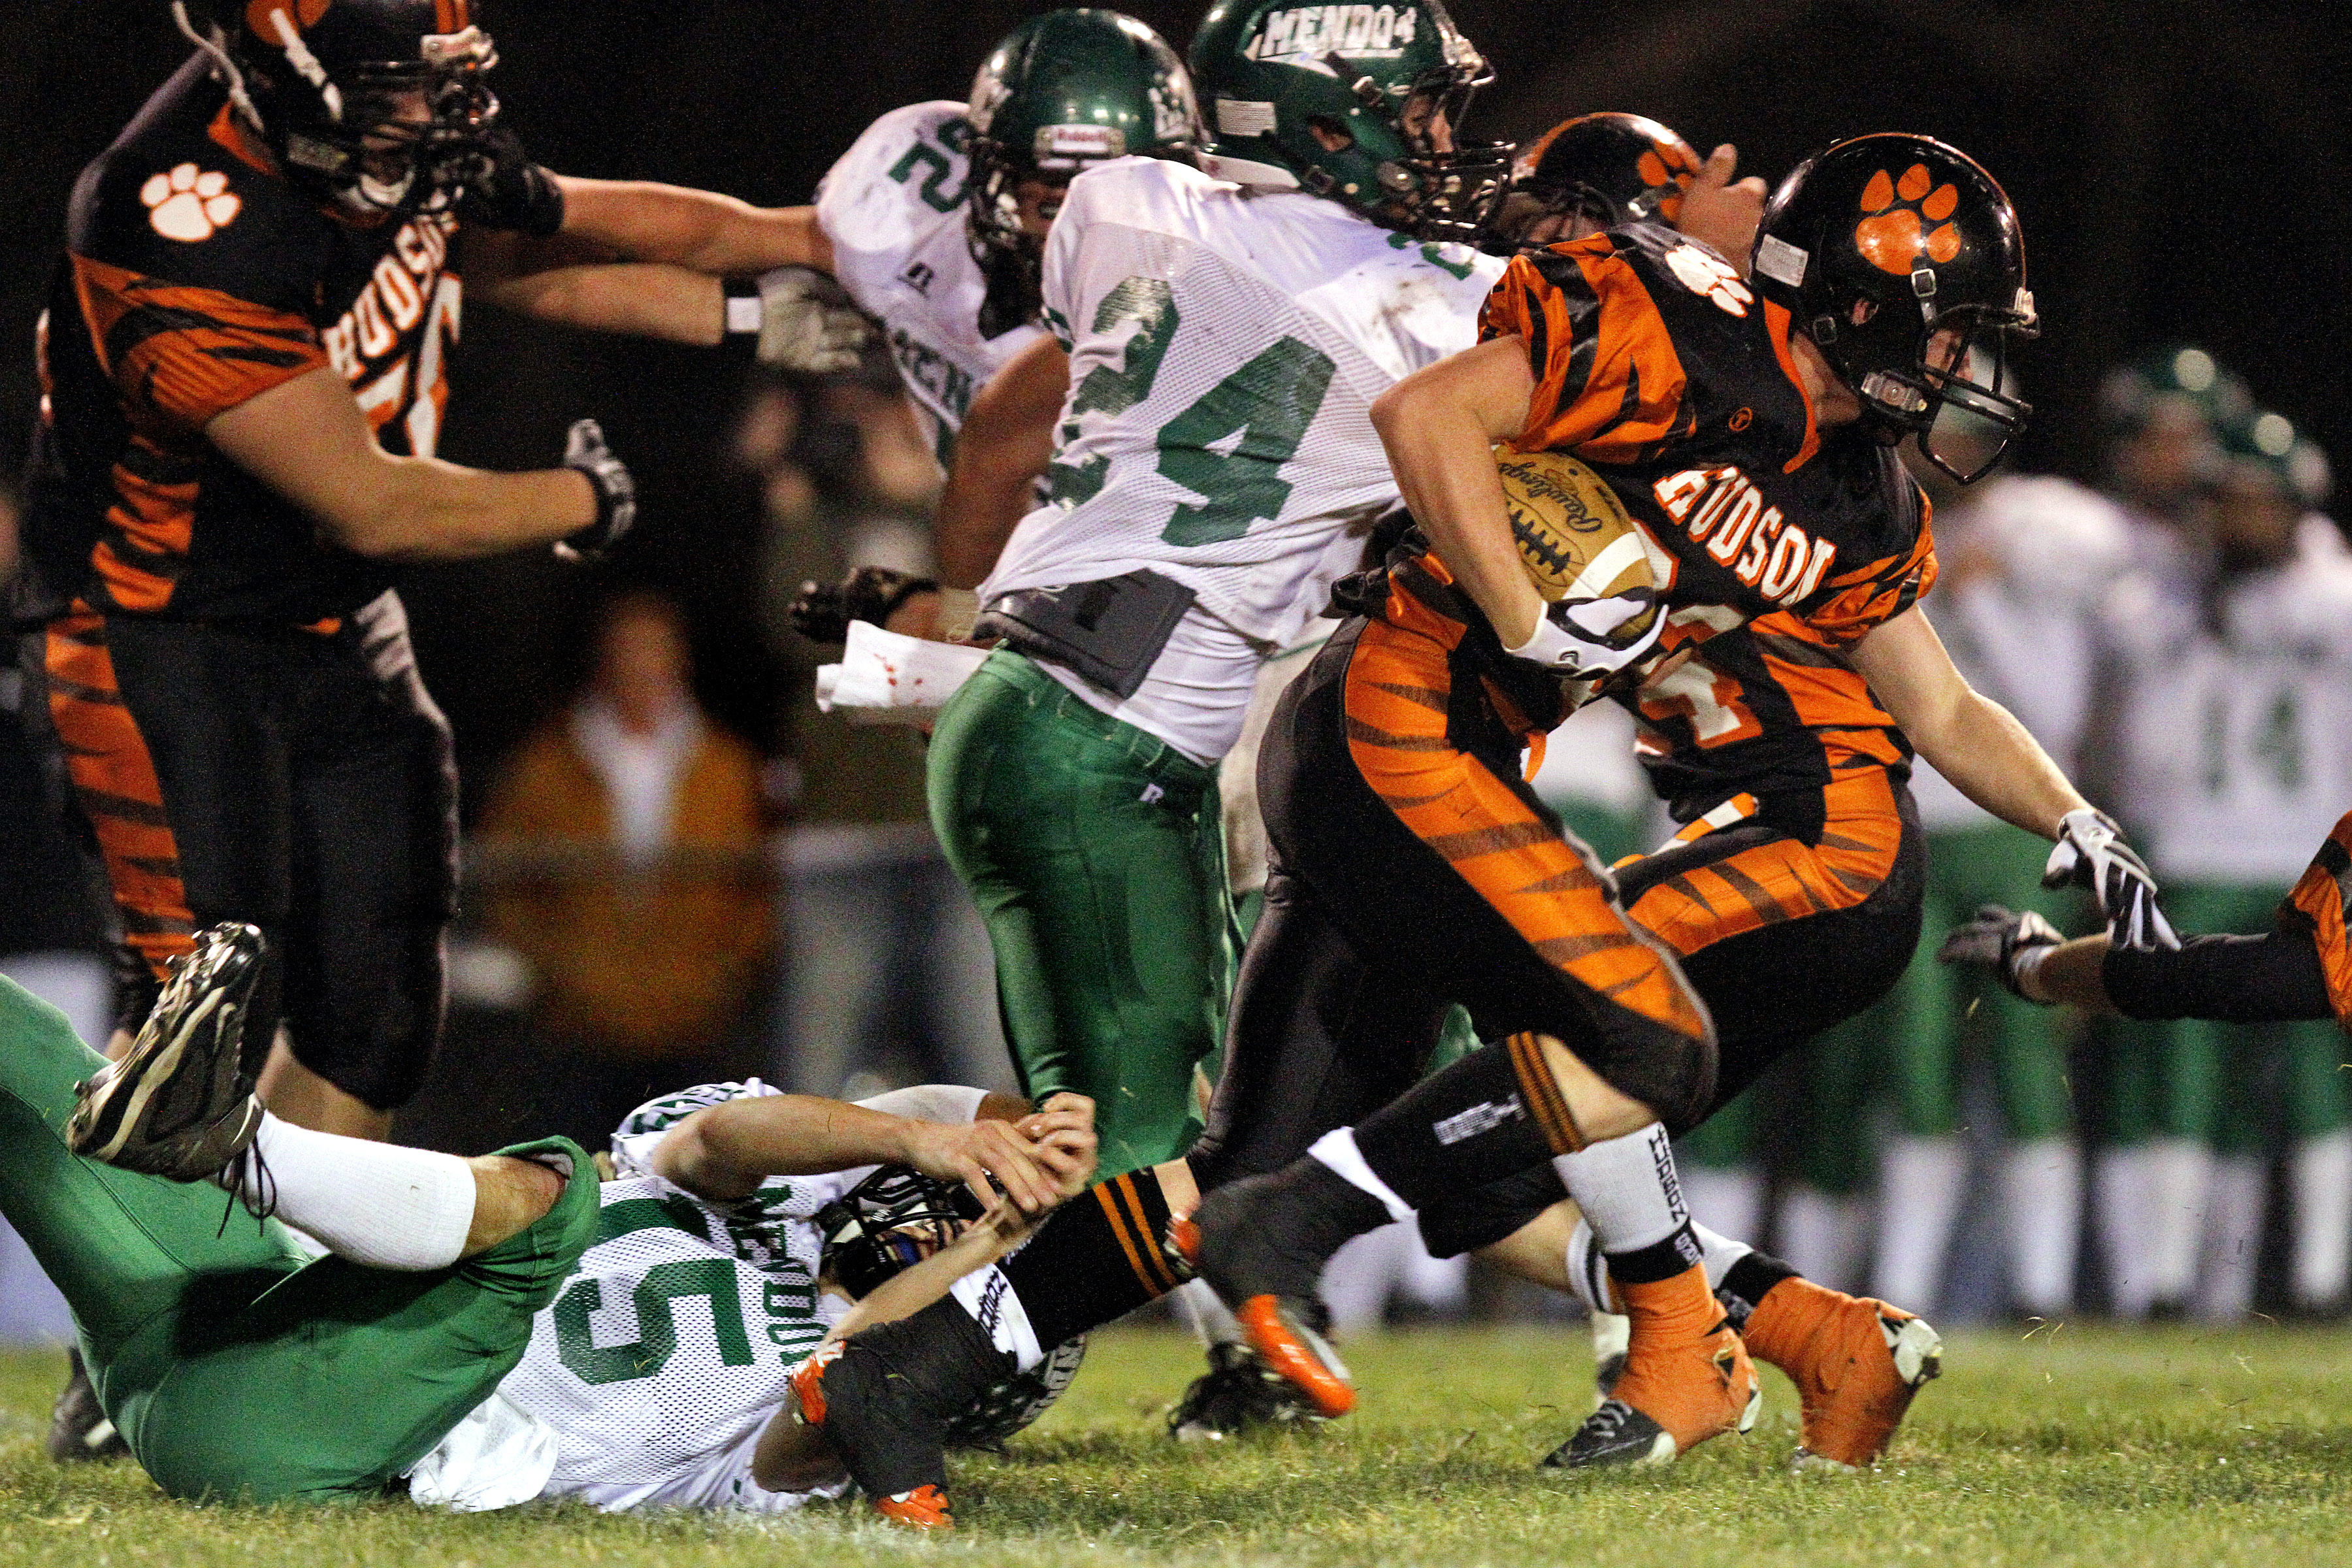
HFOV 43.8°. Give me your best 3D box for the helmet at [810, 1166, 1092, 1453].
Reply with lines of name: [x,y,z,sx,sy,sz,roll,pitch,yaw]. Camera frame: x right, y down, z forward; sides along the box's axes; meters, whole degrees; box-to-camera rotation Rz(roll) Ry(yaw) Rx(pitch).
helmet: [-0.471,0.915,5.353,0.486,0.530,0.418,-9,23,-40]

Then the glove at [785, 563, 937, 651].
glove: [-0.654,-0.366,5.945,0.236,0.108,0.170,5,11,14]

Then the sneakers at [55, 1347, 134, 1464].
sneakers: [-2.035,1.143,5.446,0.133,0.229,0.442,6,-4,-20]

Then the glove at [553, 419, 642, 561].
glove: [-1.164,-0.636,5.929,0.105,0.221,0.288,-6,41,-36]

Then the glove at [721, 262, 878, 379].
glove: [-0.807,-0.989,6.250,0.304,0.181,0.134,2,10,-12]

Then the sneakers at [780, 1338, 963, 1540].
sneakers: [-0.496,1.117,4.905,0.117,0.318,0.237,-22,21,-15]

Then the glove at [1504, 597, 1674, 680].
glove: [0.727,-0.262,5.070,0.200,0.111,0.152,-13,0,17]

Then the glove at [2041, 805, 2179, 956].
glove: [1.755,0.165,5.435,0.095,0.292,0.207,-29,2,38]
